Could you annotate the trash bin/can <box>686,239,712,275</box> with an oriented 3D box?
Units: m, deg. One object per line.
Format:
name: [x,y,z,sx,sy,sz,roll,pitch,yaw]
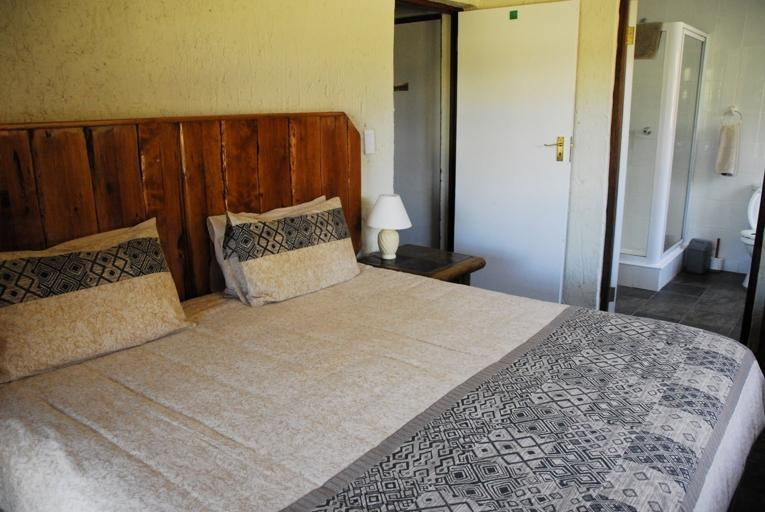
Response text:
trash bin/can: [3.257,-0.010,5.207,0.239,0.301,0.214,10,12,29]

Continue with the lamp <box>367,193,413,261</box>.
lamp: [0.046,-0.191,3.442,0.312,0.424,0.319,-5,8,-35]

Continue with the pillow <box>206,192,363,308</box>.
pillow: [-0.526,-0.021,2.697,0.641,0.579,0.186,-16,-8,-38]
